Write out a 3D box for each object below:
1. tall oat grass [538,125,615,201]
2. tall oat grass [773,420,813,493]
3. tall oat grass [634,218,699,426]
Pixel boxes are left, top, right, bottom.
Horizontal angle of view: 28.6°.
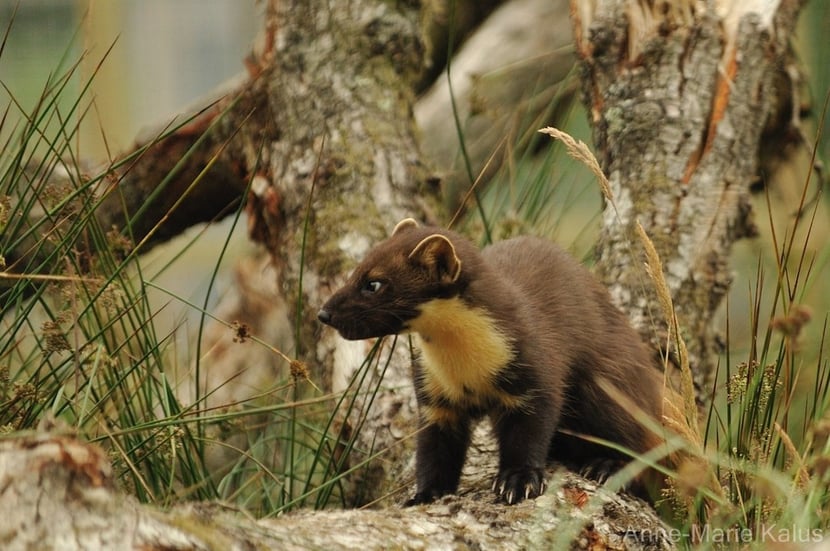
[{"bbox_3d":[1.122,-0.800,11.312,0.131,0.699,0.137,-16,-24,-37],"label":"tall oat grass"},{"bbox_3d":[2.289,1.110,9.823,0.074,0.427,0.074,-21,6,-25],"label":"tall oat grass"},{"bbox_3d":[1.637,0.332,10.433,0.119,1.325,0.153,-13,1,37],"label":"tall oat grass"}]
